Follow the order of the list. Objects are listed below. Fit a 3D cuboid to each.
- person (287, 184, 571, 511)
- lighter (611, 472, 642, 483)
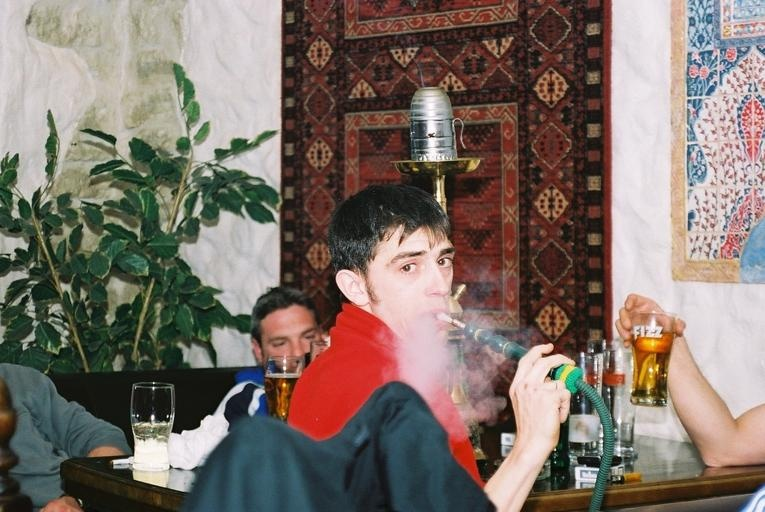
[{"bbox_3d":[0.174,0.321,3.273,1.016,1.427,0.801,-6,-9,18],"label":"person"},{"bbox_3d":[0.833,0.749,3.003,0.116,0.023,0.068,-3,-7,-2],"label":"lighter"}]
